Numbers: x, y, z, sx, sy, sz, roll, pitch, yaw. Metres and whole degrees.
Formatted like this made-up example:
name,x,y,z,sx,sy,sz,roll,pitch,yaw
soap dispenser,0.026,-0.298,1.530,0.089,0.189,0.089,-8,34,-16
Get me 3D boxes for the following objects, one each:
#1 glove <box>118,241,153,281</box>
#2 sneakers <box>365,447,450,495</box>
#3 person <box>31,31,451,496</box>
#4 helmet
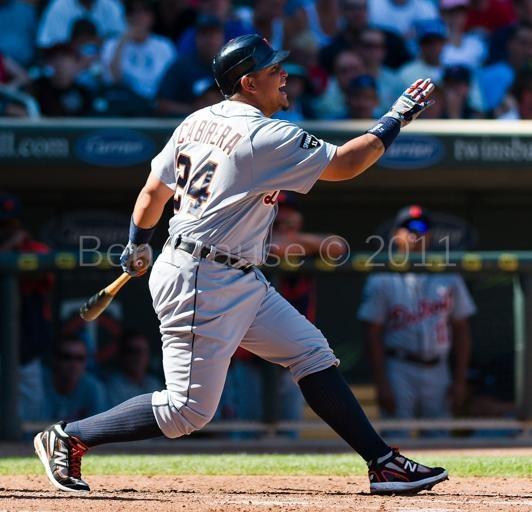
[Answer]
name,x,y,z,sx,sy,sz,roll,pitch,yaw
glove,-0.598,0.017,5.355,0.156,0.148,0.070,11,10,-5
sneakers,0.650,0.936,5.148,0.405,0.165,0.132,-13,-15,35
person,-0.133,0.122,5.157,1.701,1.830,0.391,0,0,11
helmet,-0.105,-0.867,5.203,0.371,0.175,0.245,-27,20,8
